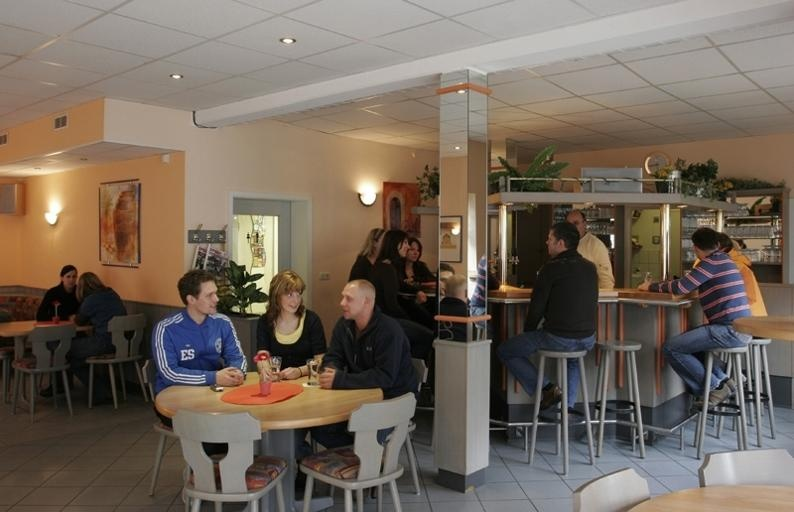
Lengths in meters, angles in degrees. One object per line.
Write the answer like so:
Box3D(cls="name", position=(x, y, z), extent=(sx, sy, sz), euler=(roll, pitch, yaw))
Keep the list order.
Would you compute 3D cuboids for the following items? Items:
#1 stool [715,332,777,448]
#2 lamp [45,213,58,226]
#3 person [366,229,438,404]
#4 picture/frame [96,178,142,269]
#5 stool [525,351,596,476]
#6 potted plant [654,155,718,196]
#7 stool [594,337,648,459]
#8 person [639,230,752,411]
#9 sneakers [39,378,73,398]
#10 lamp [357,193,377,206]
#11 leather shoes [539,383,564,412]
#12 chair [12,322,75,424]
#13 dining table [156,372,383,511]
Box3D(cls="stool", position=(4.088, 1.501, 7.059), extent=(0.744, 1.052, 0.745), euler=(0, -4, 16))
Box3D(cls="lamp", position=(-5.719, -0.629, 9.938), extent=(0.263, 0.227, 0.067), euler=(3, 6, 14))
Box3D(cls="person", position=(0.104, 0.604, 8.117), extent=(1.048, 1.772, 0.635), euler=(2, 13, 1))
Box3D(cls="picture/frame", position=(-3.964, -0.490, 8.594), extent=(1.419, 1.412, 0.075), euler=(1, 0, 40))
Box3D(cls="stool", position=(1.700, 1.553, 6.360), extent=(0.706, 1.217, 0.843), euler=(-2, 3, 16))
Box3D(cls="potted plant", position=(3.782, -1.130, 7.854), extent=(0.888, 0.551, 1.192), euler=(5, 0, 19))
Box3D(cls="stool", position=(2.366, 1.508, 6.484), extent=(0.539, 1.224, 0.673), euler=(-1, 4, 21))
Box3D(cls="person", position=(3.281, 0.633, 6.528), extent=(0.967, 1.883, 0.483), euler=(-1, 4, 22))
Box3D(cls="sneakers", position=(-4.620, 1.832, 8.366), extent=(0.192, 0.216, 0.580), euler=(-9, -12, 44))
Box3D(cls="lamp", position=(-0.480, -0.921, 9.654), extent=(0.107, 0.211, 0.417), euler=(0, 4, 34))
Box3D(cls="leather shoes", position=(1.617, 1.501, 6.407), extent=(0.133, 0.156, 0.353), euler=(-14, -16, -48))
Box3D(cls="chair", position=(-4.651, 1.407, 7.855), extent=(0.725, 1.130, 1.403), euler=(-5, 4, -33))
Box3D(cls="dining table", position=(-1.074, 1.367, 4.808), extent=(1.303, 0.759, 1.311), euler=(-2, 0, 36))
